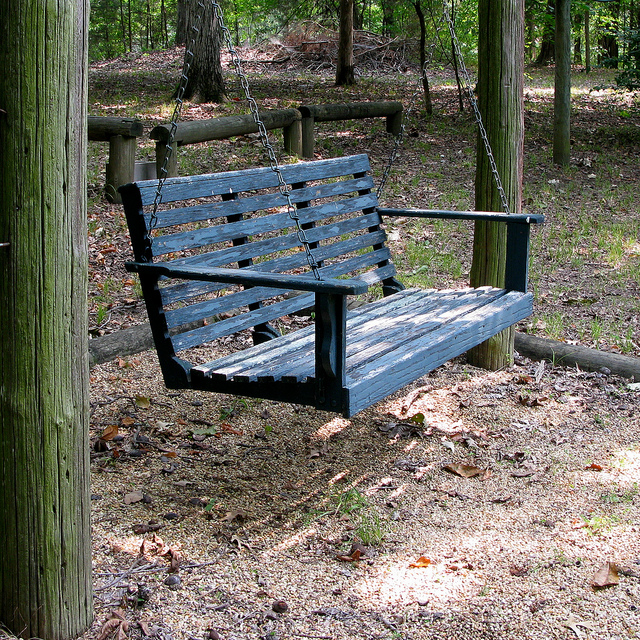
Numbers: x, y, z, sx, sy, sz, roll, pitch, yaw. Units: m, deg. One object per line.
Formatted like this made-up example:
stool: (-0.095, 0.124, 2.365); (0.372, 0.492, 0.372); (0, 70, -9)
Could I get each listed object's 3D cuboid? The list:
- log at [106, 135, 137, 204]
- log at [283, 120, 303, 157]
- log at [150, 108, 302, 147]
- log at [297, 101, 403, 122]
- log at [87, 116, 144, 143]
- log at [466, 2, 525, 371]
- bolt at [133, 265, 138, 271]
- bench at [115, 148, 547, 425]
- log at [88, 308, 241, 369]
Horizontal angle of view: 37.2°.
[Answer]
log: (-1.529, -1.178, 7.408); (0.191, 0.507, 0.142); (-5, 17, -23)
log: (-0.257, -1.791, 9.331); (0.246, 0.327, 0.382); (-4, 16, -9)
log: (-0.799, -1.690, 8.288); (0.416, 0.264, 2.083); (2, 13, 21)
log: (0.362, -2.259, 10.247); (0.387, 0.174, 1.921); (4, 14, 25)
log: (-1.614, -1.479, 7.353); (0.496, 0.191, 0.239); (7, 17, 37)
log: (0.950, -0.708, 5.176); (0.328, 1.974, 0.580); (-1, 16, 12)
bolt: (-0.724, -0.206, 3.753); (0.028, 0.013, 0.011); (-4, 10, -22)
bench: (0.195, -0.261, 4.284); (1.055, 0.696, 1.948); (12, 19, 28)
log: (-0.856, 0.087, 4.973); (0.893, 0.133, 0.318); (-13, 17, -41)
